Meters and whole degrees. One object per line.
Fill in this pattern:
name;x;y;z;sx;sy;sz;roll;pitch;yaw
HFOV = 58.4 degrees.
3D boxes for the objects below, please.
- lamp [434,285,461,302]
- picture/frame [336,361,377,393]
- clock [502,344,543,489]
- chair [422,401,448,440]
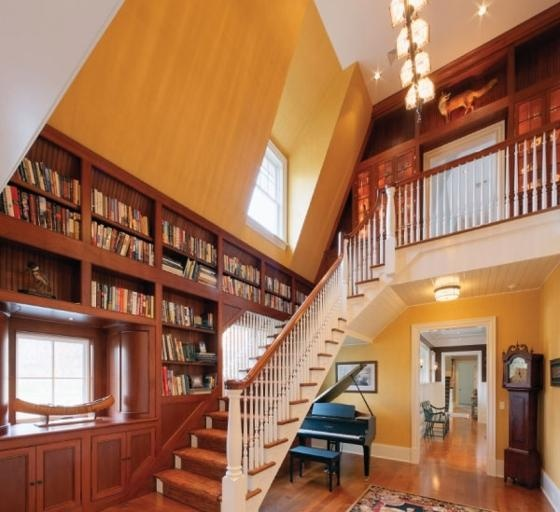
lamp;2.233;0.489;6.786;0.236;0.117;0.264;2;-19;-14
picture/frame;1.267;1.965;8.134;0.650;0.533;0.022;-9;-16;36
clock;3.224;2.085;6.630;0.511;1.801;0.372;-3;-9;33
chair;3.322;3.568;10.831;0.314;0.617;0.932;-6;-14;26
